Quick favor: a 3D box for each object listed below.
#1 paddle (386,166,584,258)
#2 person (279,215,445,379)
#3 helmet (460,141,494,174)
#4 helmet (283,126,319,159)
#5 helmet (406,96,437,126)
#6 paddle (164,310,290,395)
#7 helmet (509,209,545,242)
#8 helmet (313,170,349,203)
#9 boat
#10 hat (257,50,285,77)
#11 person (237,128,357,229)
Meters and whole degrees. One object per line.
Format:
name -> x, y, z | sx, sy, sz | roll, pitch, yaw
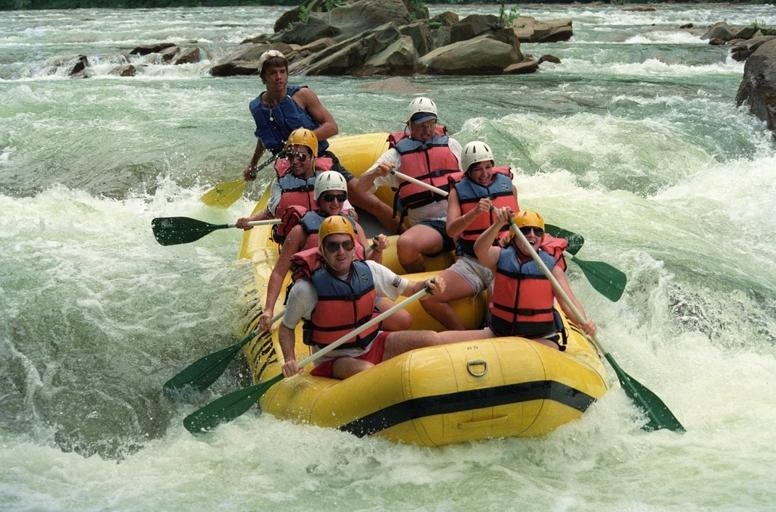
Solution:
paddle -> 0.865, -0.395, 6.113 | 2.211, 0.509, 0.136 | 23, 51, 4
person -> -0.574, 0.203, 5.802 | 1.285, 1.856, 0.693 | -2, 19, -13
helmet -> 0.802, -0.868, 5.699 | 0.237, 0.296, 0.223 | -3, 29, -10
helmet -> -0.829, -1.094, 6.100 | 0.251, 0.302, 0.255 | 7, 38, 16
helmet -> 0.338, -1.433, 6.296 | 0.245, 0.251, 0.285 | -1, 7, -18
paddle -> -1.444, 0.891, 5.663 | 1.317, 0.221, 0.086 | -34, 2, -10
helmet -> 1.155, -0.250, 5.234 | 0.206, 0.265, 0.197 | 1, 70, 7
helmet -> -0.513, -0.639, 5.603 | 0.237, 0.283, 0.215 | 1, 40, -9
boat -> 0.182, 0.671, 5.540 | 2.807, 0.748, 2.355 | -12, 30, -13
hat -> -1.301, -2.169, 7.107 | 0.346, 0.211, 0.451 | -10, 14, 3
person -> -0.958, -0.723, 6.111 | 1.017, 0.477, 1.150 | -6, 22, -17
